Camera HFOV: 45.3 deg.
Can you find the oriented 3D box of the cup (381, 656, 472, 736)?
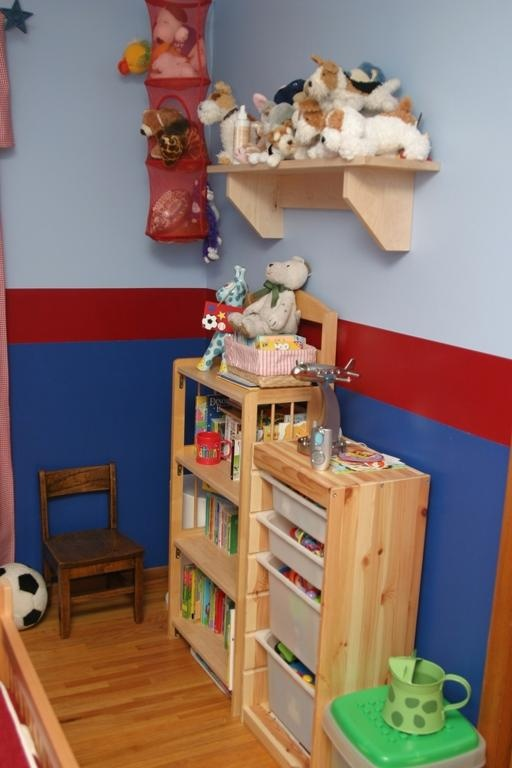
[{"bbox_3d":[0.319,0.573,1.127,0.154,0.106,0.100,0,3,36],"label":"cup"}]

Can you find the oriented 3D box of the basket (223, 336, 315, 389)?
[{"bbox_3d":[0.021,-0.058,1.715,0.133,0.082,0.200,-3,11,-22],"label":"basket"}]

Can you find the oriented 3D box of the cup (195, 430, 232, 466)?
[{"bbox_3d":[-0.145,0.209,2.038,0.125,0.101,0.083,10,9,11],"label":"cup"}]

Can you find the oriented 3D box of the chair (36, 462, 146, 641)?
[{"bbox_3d":[-0.638,0.605,2.344,0.339,0.546,0.418,-1,6,-27],"label":"chair"}]
